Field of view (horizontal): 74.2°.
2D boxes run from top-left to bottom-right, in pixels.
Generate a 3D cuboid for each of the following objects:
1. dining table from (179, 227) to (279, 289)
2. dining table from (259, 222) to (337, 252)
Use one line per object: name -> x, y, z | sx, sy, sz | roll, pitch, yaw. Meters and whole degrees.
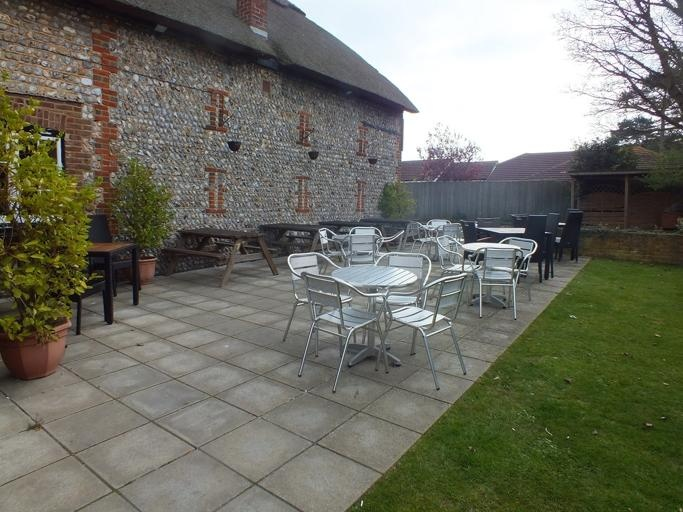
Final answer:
dining table -> -2.386, -0.104, 9.565 | 2.174, 0.950, 2.096 | 7, 10, 37
dining table -> -1.426, -0.666, 11.563 | 1.640, 0.718, 0.858 | 3, 6, 27
